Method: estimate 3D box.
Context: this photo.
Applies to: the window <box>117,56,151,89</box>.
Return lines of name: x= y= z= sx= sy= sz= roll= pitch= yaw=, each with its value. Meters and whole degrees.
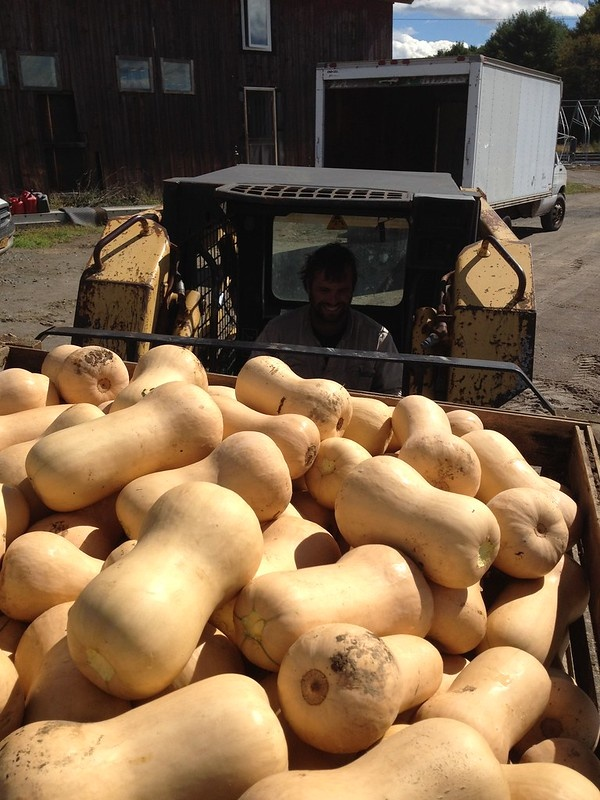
window: x=-4.844 y=-9.513 z=17.553 sx=0.919 sy=0.827 sz=0.094 roll=-5 pitch=25 yaw=-17

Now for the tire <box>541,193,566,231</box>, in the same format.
tire: x=7.356 y=-5.529 z=17.791 sx=0.419 sy=1.087 sz=1.061 roll=13 pitch=1 yaw=44

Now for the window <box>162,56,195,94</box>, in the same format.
window: x=-3.673 y=-9.750 z=18.142 sx=1.028 sy=0.899 sz=0.115 roll=-12 pitch=26 yaw=-29

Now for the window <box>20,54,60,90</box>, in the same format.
window: x=-7.152 y=-8.991 z=16.572 sx=0.930 sy=0.821 sz=0.079 roll=-4 pitch=13 yaw=-20

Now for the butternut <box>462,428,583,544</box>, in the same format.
butternut: x=0.894 y=0.300 z=2.207 sx=0.214 sy=0.246 sz=0.528 roll=22 pitch=33 yaw=17

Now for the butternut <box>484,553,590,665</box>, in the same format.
butternut: x=0.680 y=0.607 z=1.822 sx=0.188 sy=0.207 sz=0.441 roll=-2 pitch=12 yaw=44

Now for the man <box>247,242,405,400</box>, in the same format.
man: x=0.209 y=-0.528 z=3.815 sx=0.873 sy=1.200 sz=0.715 roll=-2 pitch=27 yaw=-1

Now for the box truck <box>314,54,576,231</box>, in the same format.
box truck: x=3.400 y=-6.773 z=14.591 sx=4.123 sy=4.164 sz=7.848 roll=14 pitch=31 yaw=28
